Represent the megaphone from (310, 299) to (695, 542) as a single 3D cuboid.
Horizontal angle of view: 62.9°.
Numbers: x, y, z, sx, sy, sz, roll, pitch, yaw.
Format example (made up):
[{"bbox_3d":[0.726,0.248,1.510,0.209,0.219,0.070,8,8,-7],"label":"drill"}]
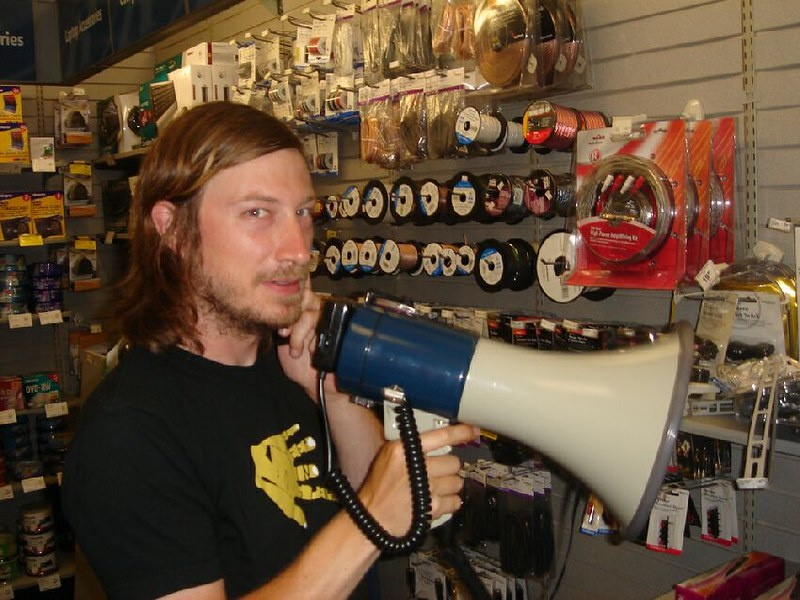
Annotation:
[{"bbox_3d":[0.261,0.208,1.616,0.641,0.418,0.663,13,-14,29],"label":"megaphone"}]
